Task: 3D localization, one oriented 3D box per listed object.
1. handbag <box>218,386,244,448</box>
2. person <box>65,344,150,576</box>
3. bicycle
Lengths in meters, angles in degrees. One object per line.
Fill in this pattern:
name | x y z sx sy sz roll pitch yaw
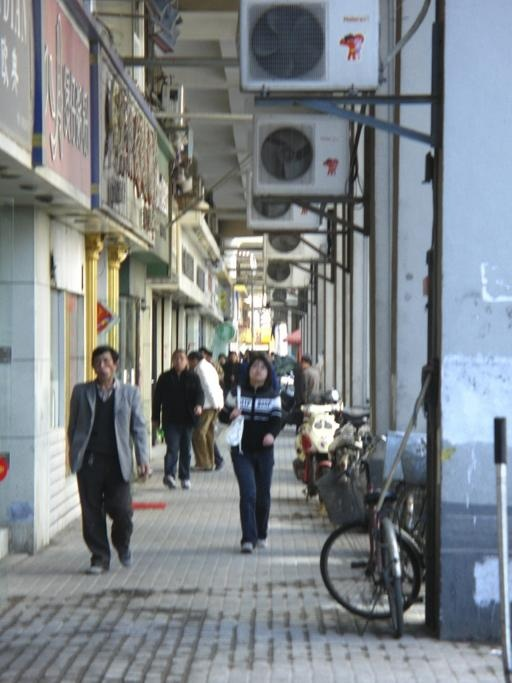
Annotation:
handbag | -0.178 0.633 7.259 0.144 0.518 0.362 -1 -1 -4
person | -1.051 0.837 6.427 0.585 1.588 0.360 -1 -1 -19
bicycle | 0.624 1.195 5.264 0.339 0.833 0.899 0 1 -19
